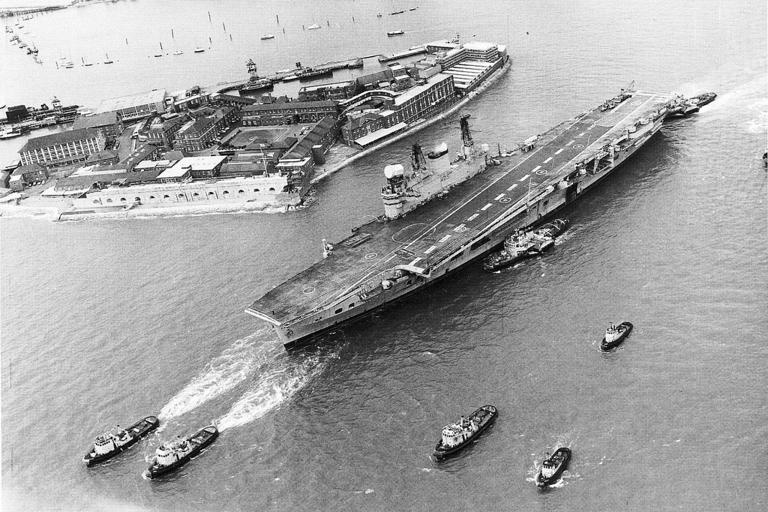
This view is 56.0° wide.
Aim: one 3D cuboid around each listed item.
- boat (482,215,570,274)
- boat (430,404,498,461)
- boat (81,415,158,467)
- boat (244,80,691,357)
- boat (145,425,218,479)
[{"bbox_3d":[19.311,-0.936,96.964,13.189,4.550,5.126,-32,42,-9],"label":"boat"},{"bbox_3d":[8.410,18.495,76.365,8.292,2.358,2.158,-30,28,-23],"label":"boat"},{"bbox_3d":[-29.615,20.533,80.963,8.363,1.720,1.955,-28,27,-19],"label":"boat"},{"bbox_3d":[15.570,-8.575,104.029,76.353,7.752,16.584,-32,28,-27],"label":"boat"},{"bbox_3d":[-22.273,21.284,78.804,8.497,2.541,1.864,-29,27,-21],"label":"boat"}]
